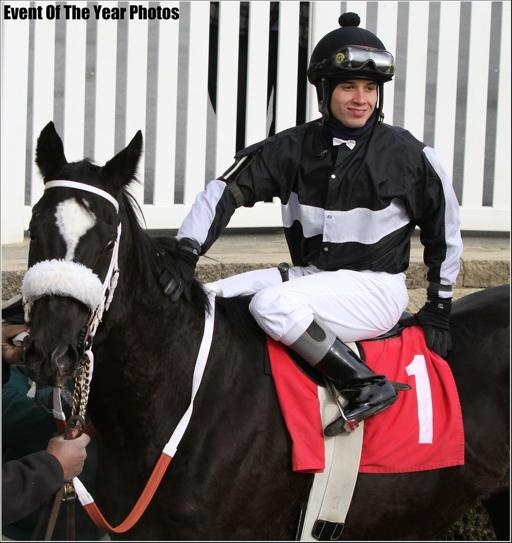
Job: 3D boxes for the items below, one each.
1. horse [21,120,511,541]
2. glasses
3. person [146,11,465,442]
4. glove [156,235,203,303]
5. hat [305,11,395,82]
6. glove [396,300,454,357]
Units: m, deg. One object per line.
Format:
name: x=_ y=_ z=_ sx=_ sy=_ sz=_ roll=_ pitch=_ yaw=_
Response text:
horse: x=0.070 y=0.244 z=1.860 sx=1.371 sy=1.234 sz=0.415 roll=0 pitch=4 yaw=-20
glasses: x=0.291 y=-0.668 z=2.058 sx=0.280 sy=0.103 sz=0.180 roll=4 pitch=6 yaw=14
person: x=0.087 y=-0.074 z=2.705 sx=1.096 sy=2.077 sz=0.934 roll=9 pitch=-7 yaw=-44
glove: x=-0.227 y=-0.021 z=1.856 sx=0.110 sy=0.050 sz=0.182 roll=36 pitch=31 yaw=-17
hat: x=0.308 y=-0.706 z=2.045 sx=0.168 sy=0.214 sz=0.235 roll=0 pitch=2 yaw=-23
glove: x=0.565 y=0.170 z=2.066 sx=0.112 sy=0.222 sz=0.083 roll=7 pitch=-11 yaw=-5
